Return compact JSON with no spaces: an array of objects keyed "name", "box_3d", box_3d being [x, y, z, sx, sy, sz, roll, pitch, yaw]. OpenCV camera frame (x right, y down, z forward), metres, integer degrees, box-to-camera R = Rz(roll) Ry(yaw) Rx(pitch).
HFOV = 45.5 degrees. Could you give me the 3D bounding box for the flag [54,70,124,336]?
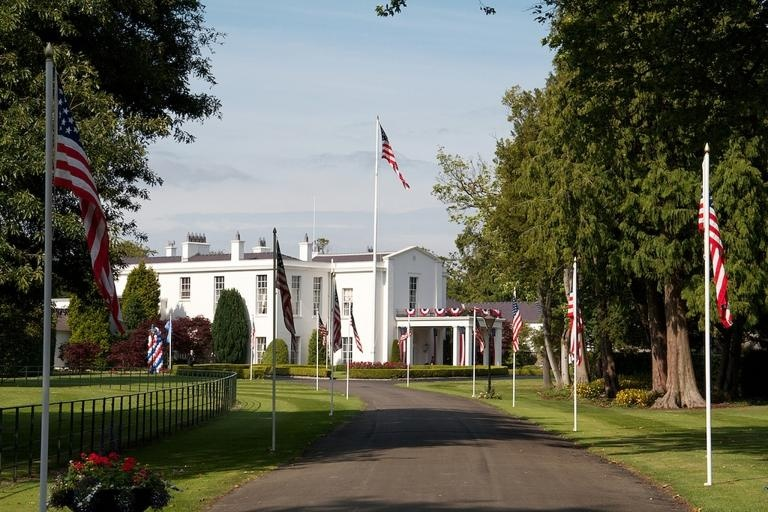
[{"name":"flag","box_3d":[-6.968,-1.204,21.164,0.811,5.623,2.063,-5,-9,21]}]
